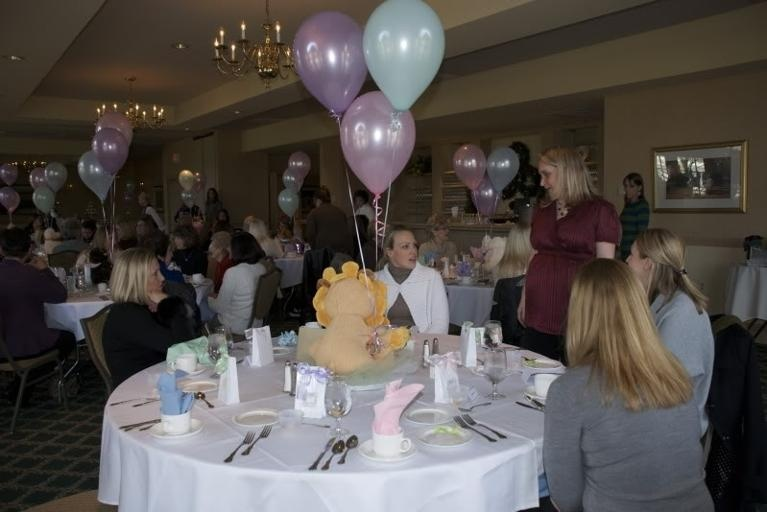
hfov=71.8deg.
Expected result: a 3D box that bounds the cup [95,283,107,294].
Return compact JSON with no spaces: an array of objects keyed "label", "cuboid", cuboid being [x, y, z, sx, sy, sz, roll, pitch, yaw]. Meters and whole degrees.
[{"label":"cup","cuboid":[-2.729,0.312,5.109,0.090,0.078,0.097,0,-5,0]}]

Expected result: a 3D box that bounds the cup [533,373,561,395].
[{"label":"cup","cuboid":[0.737,0.585,2.433,0.117,0.127,0.155,1,-5,-1]}]

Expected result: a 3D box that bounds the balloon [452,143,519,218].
[{"label":"balloon","cuboid":[1.228,-0.875,6.488,0.708,0.913,0.949,1,13,7]}]

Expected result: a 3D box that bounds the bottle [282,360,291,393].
[{"label":"bottle","cuboid":[-0.459,0.567,2.520,0.046,0.141,0.101,-4,13,-12]}]

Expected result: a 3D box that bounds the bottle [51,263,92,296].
[{"label":"bottle","cuboid":[-3.090,0.246,5.348,0.283,0.349,0.465,-1,-4,6]}]

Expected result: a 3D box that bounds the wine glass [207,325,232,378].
[{"label":"wine glass","cuboid":[-0.795,0.499,2.567,0.106,0.263,0.399,-5,14,-17]}]

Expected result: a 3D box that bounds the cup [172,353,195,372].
[{"label":"cup","cuboid":[-1.019,0.538,2.678,0.114,0.090,0.089,-4,11,-22]}]

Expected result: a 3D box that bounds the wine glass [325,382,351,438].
[{"label":"wine glass","cuboid":[-0.193,0.609,2.213,0.102,0.200,0.227,-2,13,-7]}]

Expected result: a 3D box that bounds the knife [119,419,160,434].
[{"label":"knife","cuboid":[-1.024,0.708,2.221,0.156,0.010,0.053,-10,28,-35]}]

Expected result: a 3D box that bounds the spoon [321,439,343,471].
[{"label":"spoon","cuboid":[-0.197,0.752,2.016,0.030,0.019,0.131,0,25,19]}]

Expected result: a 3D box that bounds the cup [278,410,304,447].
[{"label":"cup","cuboid":[-0.378,0.689,2.129,0.080,0.074,0.098,1,2,0]}]

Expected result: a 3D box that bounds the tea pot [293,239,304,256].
[{"label":"tea pot","cuboid":[-1.290,-0.129,8.128,0.206,0.221,0.381,0,11,-6]}]

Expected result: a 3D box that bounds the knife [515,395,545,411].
[{"label":"knife","cuboid":[0.668,0.664,2.368,0.041,0.021,0.135,-7,3,-5]}]

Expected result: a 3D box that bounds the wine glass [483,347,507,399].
[{"label":"wine glass","cuboid":[0.531,0.534,2.498,0.093,0.230,0.181,4,14,19]}]

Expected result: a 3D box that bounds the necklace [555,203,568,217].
[{"label":"necklace","cuboid":[1.130,-0.290,3.369,0.019,0.083,0.058,-3,2,-36]}]

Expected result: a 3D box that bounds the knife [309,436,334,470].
[{"label":"knife","cuboid":[-0.237,0.744,2.030,0.028,0.017,0.217,20,12,9]}]

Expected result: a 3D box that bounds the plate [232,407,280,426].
[{"label":"plate","cuboid":[-0.542,0.689,2.255,0.179,0.012,0.144,-6,14,-19]}]

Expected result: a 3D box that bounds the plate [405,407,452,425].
[{"label":"plate","cuboid":[0.194,0.689,2.279,0.200,0.016,0.123,1,14,7]}]

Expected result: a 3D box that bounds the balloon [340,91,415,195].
[{"label":"balloon","cuboid":[-0.042,-0.711,3.345,0.476,0.658,0.501,-2,-6,11]}]

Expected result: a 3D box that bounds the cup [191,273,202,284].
[{"label":"cup","cuboid":[-1.991,0.244,5.633,0.071,0.083,0.111,1,5,-6]}]

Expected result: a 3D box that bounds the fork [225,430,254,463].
[{"label":"fork","cuboid":[-0.555,0.740,2.084,0.030,0.034,0.225,1,22,13]}]
